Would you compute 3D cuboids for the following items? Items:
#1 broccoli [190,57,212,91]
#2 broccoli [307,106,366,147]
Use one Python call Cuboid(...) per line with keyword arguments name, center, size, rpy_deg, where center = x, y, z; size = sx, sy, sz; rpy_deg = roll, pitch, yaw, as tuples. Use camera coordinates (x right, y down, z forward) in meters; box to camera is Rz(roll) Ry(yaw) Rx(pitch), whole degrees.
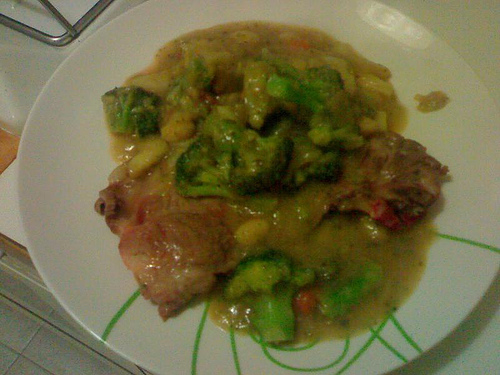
Cuboid(name="broccoli", center=(-0.426, -0.941, 4.463), size=(0.165, 0.060, 0.252), rpy_deg=(-15, 105, 4))
Cuboid(name="broccoli", center=(0.682, -0.452, 4.340), size=(0.393, 0.104, 0.366), rpy_deg=(13, 87, -8))
